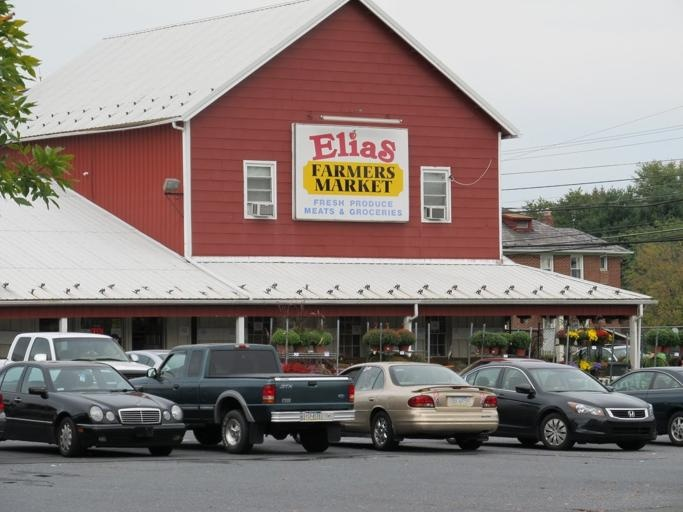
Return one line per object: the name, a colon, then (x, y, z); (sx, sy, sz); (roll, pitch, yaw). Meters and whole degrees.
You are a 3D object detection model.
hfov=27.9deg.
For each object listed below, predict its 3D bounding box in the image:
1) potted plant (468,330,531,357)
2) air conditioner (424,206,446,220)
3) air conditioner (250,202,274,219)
potted plant: (5.062, 2.961, 45.102); (1.068, 0.547, 1.172); (2, -2, -41)
air conditioner: (3.158, -1.410, 47.103); (0.873, 0.467, 0.268); (0, 4, -38)
air conditioner: (-2.594, -1.446, 44.855); (0.811, 0.521, 0.284); (0, 4, -35)
